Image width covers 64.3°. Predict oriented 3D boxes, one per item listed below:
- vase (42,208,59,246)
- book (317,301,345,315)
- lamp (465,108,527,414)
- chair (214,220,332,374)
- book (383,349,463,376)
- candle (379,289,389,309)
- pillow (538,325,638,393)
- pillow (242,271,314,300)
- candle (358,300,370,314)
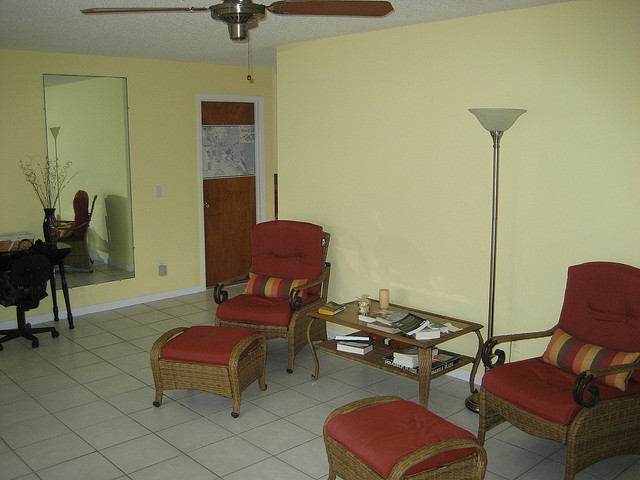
[{"bbox_3d":[-3.037,-0.147,5.719,0.140,0.399,0.378,-8,16,-27],"label":"vase"},{"bbox_3d":[0.099,0.625,4.627,0.213,0.044,0.272,5,13,23],"label":"book"},{"bbox_3d":[1.294,0.173,4.029,0.386,2.389,0.627,6,16,19],"label":"lamp"},{"bbox_3d":[-0.487,0.519,5.145,1.198,1.198,1.149,-12,18,-35],"label":"chair"},{"bbox_3d":[0.820,0.982,4.114,0.365,0.034,0.384,-9,14,-42],"label":"book"},{"bbox_3d":[0.579,0.529,4.557,0.072,0.173,0.075,3,15,11],"label":"candle"},{"bbox_3d":[1.834,0.808,3.503,0.237,0.228,0.625,-8,15,-32],"label":"pillow"},{"bbox_3d":[-0.481,0.461,5.159,0.659,0.211,0.142,3,-19,15],"label":"pillow"},{"bbox_3d":[0.396,0.594,4.559,0.122,0.092,0.117,6,11,32],"label":"candle"}]
